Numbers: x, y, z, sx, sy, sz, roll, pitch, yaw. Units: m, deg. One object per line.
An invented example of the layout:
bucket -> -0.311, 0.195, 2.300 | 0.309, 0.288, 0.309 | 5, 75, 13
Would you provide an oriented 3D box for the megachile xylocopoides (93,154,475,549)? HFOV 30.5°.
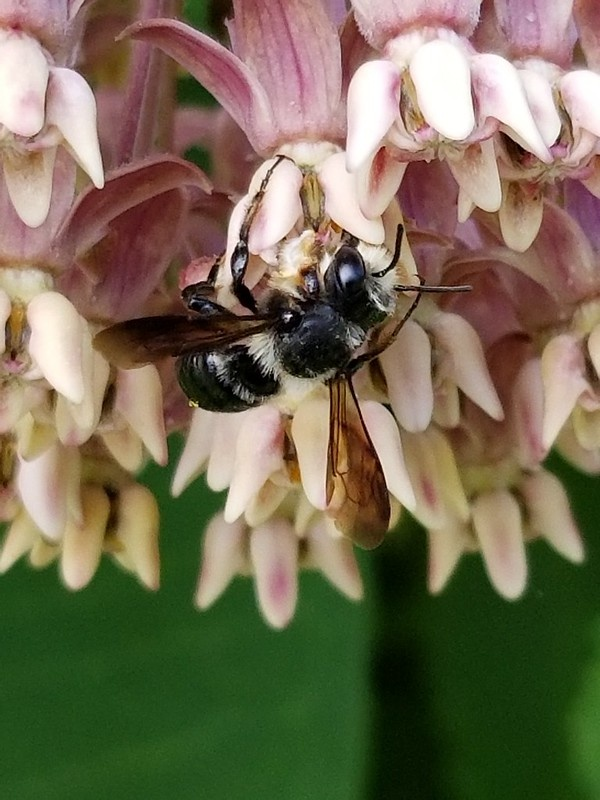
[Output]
megachile xylocopoides -> -0.013, -0.036, 0.680 | 0.189, 0.075, 0.239 | 40, 84, -19
